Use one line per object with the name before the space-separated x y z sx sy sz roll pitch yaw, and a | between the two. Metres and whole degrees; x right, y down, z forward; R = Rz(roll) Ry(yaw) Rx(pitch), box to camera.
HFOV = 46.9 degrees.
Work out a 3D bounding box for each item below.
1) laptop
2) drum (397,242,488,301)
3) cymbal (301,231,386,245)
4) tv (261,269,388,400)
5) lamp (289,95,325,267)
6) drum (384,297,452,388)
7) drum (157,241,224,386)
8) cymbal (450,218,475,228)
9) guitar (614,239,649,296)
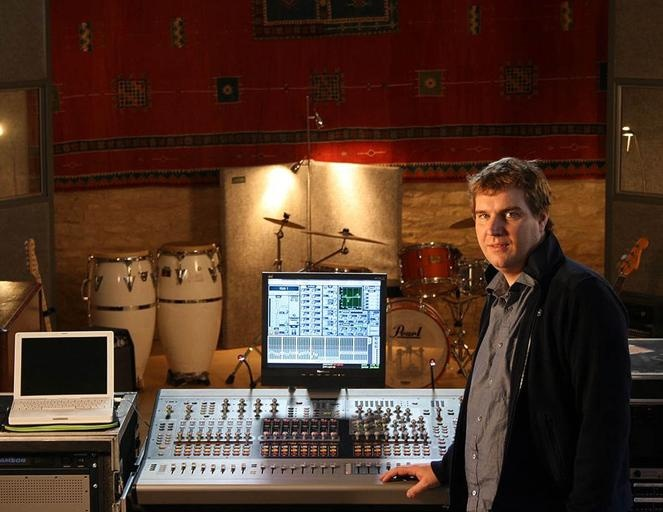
laptop | -0.956 0.370 2.767 0.365 0.286 0.319 0 10 -3
drum | 0.842 0.178 5.979 0.538 0.222 0.390 18 -29 -33
cymbal | 0.088 -0.171 6.695 0.686 0.123 1.013 -1 -2 -3
tv | -0.037 0.325 3.071 0.445 0.445 0.165 0 -7 1
lamp | -0.225 -0.679 6.867 0.311 1.390 0.677 -1 -1 -2
drum | 0.622 0.678 5.793 0.623 0.730 0.428 -9 4 1
drum | -1.147 0.468 6.168 0.509 0.919 0.362 -1 0 -8
cymbal | 1.039 -0.258 6.230 0.202 0.036 0.207 -10 15 1
guitar | 2.067 0.089 5.321 0.147 0.256 0.569 13 31 23
